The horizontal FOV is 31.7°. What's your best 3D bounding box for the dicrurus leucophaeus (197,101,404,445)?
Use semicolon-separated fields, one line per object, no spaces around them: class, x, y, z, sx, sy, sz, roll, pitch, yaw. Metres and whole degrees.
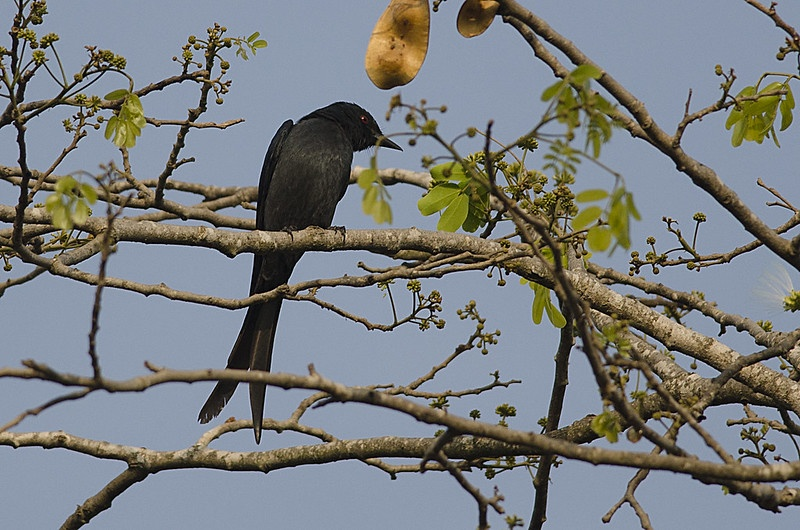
dicrurus leucophaeus;-0.705;-0.146;10.165;0.764;3.053;1.686;19;-66;-11
